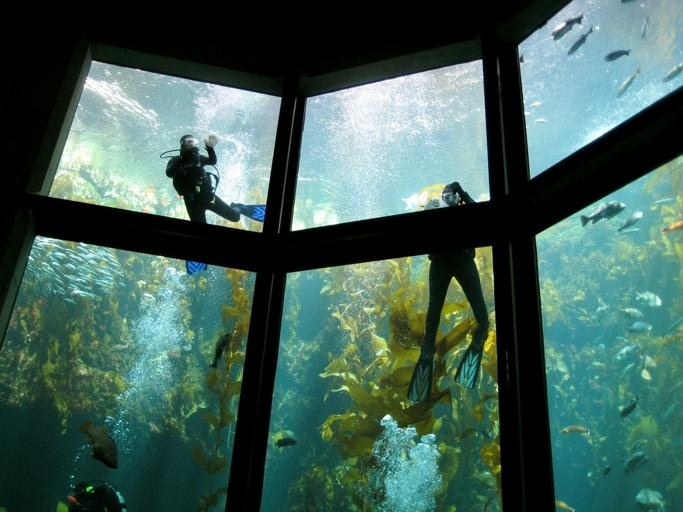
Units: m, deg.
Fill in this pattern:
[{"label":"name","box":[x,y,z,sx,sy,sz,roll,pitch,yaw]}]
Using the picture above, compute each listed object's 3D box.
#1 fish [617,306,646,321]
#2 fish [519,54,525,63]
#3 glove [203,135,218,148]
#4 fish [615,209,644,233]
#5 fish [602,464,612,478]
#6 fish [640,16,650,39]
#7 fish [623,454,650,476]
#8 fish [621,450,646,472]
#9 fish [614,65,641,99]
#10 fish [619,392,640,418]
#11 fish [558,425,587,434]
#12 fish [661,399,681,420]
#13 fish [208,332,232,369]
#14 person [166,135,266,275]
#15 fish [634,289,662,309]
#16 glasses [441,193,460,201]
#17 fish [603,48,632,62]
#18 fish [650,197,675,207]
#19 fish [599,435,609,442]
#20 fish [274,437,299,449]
[{"label":"fish","box":[1.414,0.280,2.776,0.028,0.077,0.147,2,7,-28]},{"label":"fish","box":[1.098,-1.203,3.466,0.004,0.067,0.037,20,-28,-36]},{"label":"glove","box":[-0.907,-0.792,3.923,0.079,0.129,0.037,5,-38,-8]},{"label":"fish","box":[1.449,-0.171,2.875,0.150,0.065,0.043,-43,-31,20]},{"label":"fish","box":[1.305,1.055,2.806,0.014,0.056,0.035,24,15,-33]},{"label":"fish","box":[1.577,-1.188,2.953,0.016,0.117,0.060,12,-24,-20]},{"label":"fish","box":[1.422,1.020,2.776,0.051,0.062,0.156,23,-37,-1]},{"label":"fish","box":[1.397,1.006,2.779,0.051,0.073,0.150,31,-35,6]},{"label":"fish","box":[1.487,-0.901,2.963,0.053,0.072,0.167,25,-66,-16]},{"label":"fish","box":[1.413,0.743,2.808,0.038,0.094,0.099,16,-25,-28]},{"label":"fish","box":[1.174,0.878,2.880,0.141,0.059,0.037,-8,-22,44]},{"label":"fish","box":[1.571,0.736,2.728,0.030,0.035,0.103,-6,-51,-37]},{"label":"fish","box":[-0.741,0.569,3.535,0.068,0.241,0.075,17,-25,5]},{"label":"person","box":[-0.950,-0.400,3.864,0.463,0.903,0.476,-21,-26,-14]},{"label":"fish","box":[1.486,0.207,2.756,0.111,0.081,0.026,0,-22,8]},{"label":"glasses","box":[0.667,-0.361,3.484,0.069,0.053,0.025,-1,21,38]},{"label":"fish","box":[1.468,-1.079,3.043,0.153,0.079,0.036,-7,-15,10]},{"label":"fish","box":[1.564,-0.270,2.766,0.028,0.039,0.097,7,7,4]},{"label":"fish","box":[1.292,0.900,2.810,0.054,0.019,0.026,-17,10,-30]},{"label":"fish","box":[-0.330,1.109,3.405,0.137,0.073,0.026,-9,-25,28]}]
